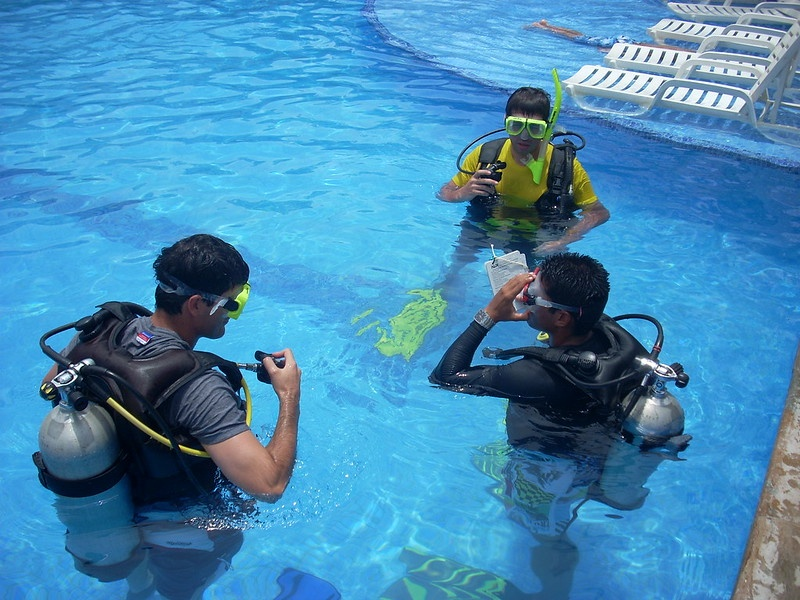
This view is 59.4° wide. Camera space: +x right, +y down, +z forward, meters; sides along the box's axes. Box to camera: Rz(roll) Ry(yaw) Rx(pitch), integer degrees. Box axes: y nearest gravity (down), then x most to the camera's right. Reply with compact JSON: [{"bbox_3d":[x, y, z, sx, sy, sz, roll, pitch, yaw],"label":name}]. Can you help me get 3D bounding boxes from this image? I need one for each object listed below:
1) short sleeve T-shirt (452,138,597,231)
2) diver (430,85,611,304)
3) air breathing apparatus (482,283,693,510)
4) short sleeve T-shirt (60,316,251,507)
[{"bbox_3d":[1.245,-1.152,7.186,1.785,0.971,0.630,7,58,4],"label":"short sleeve T-shirt"},{"bbox_3d":[1.146,-0.903,7.169,1.846,1.672,1.166,8,0,10],"label":"diver"},{"bbox_3d":[1.505,0.949,5.214,1.003,1.091,1.406,-6,18,-31],"label":"air breathing apparatus"},{"bbox_3d":[-1.585,0.746,4.445,1.174,1.071,0.830,24,49,38],"label":"short sleeve T-shirt"}]
